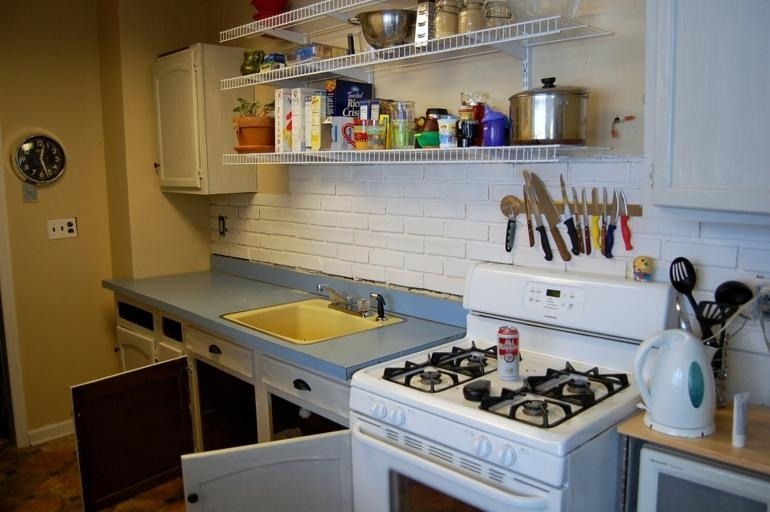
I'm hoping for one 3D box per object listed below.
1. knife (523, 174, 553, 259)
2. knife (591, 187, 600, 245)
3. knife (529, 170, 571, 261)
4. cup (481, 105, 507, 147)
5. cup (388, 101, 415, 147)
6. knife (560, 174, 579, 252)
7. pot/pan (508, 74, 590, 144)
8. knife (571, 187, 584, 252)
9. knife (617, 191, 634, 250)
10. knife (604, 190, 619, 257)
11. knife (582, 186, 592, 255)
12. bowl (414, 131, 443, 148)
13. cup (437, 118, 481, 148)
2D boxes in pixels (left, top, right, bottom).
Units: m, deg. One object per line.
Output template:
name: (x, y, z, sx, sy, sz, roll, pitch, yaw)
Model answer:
knife: (0.706, -0.176, 2.671, 0.032, 0.420, 0.109, -9, 1, -42)
knife: (0.907, -0.159, 2.519, 0.035, 0.267, 0.036, 1, 11, 19)
knife: (0.749, -0.206, 2.670, 0.108, 0.475, 0.044, -23, -10, 30)
cup: (0.455, -0.559, 2.503, 0.114, 0.172, 0.118, -2, 10, 0)
cup: (0.089, -0.617, 2.752, 0.104, 0.212, 0.082, -3, 10, -3)
knife: (0.810, -0.190, 2.579, 0.062, 0.363, 0.027, -15, -22, 41)
pot/pan: (0.648, -0.557, 2.318, 0.312, 0.223, 0.277, -1, 4, 1)
knife: (0.848, -0.165, 2.561, 0.039, 0.293, 0.033, -6, 1, -20)
knife: (1.012, -0.158, 2.470, 0.034, 0.268, 0.048, -7, 4, -37)
knife: (0.963, -0.129, 2.485, 0.021, 0.256, 0.070, -7, 9, -35)
knife: (0.873, -0.153, 2.541, 0.041, 0.279, 0.042, -3, -3, 38)
bowl: (0.198, -0.539, 2.683, 0.112, 0.043, 0.072, -11, 22, -41)
cup: (0.312, -0.538, 2.542, 0.121, 0.120, 0.177, -10, 20, -32)
